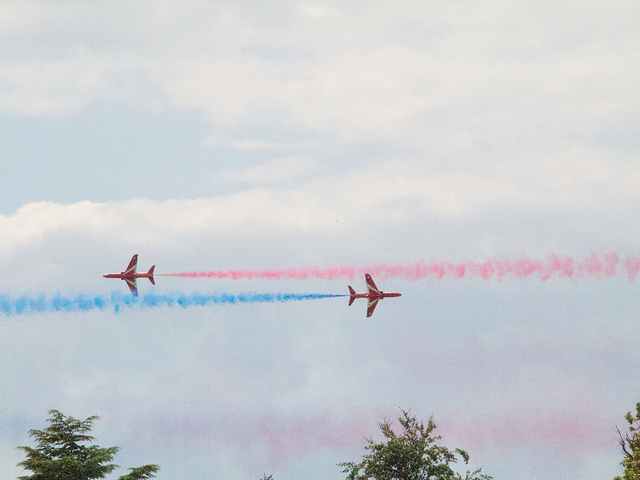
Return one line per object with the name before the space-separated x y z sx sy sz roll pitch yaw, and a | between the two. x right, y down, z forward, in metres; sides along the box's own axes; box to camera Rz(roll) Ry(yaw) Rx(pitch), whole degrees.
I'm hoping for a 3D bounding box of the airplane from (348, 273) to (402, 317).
airplane | 5.590 5.589 178.178 5.293 4.887 1.729 -1 -42 4
